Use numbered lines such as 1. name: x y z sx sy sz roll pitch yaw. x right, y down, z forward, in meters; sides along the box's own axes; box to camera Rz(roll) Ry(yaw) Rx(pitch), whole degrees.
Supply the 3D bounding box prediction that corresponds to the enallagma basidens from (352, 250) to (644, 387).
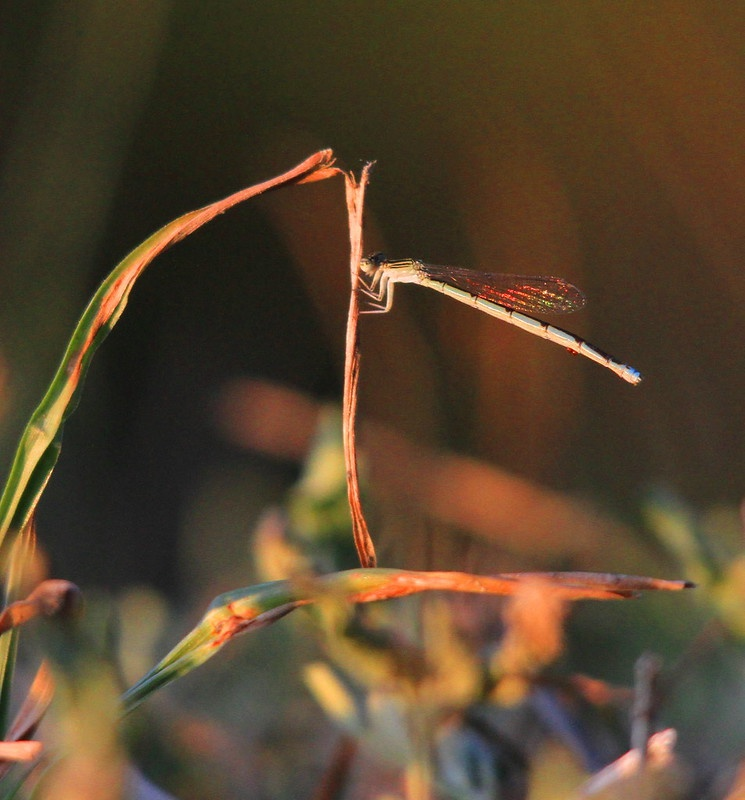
1. enallagma basidens: 0.145 -0.108 1.410 0.373 0.104 0.084 13 -12 -14
